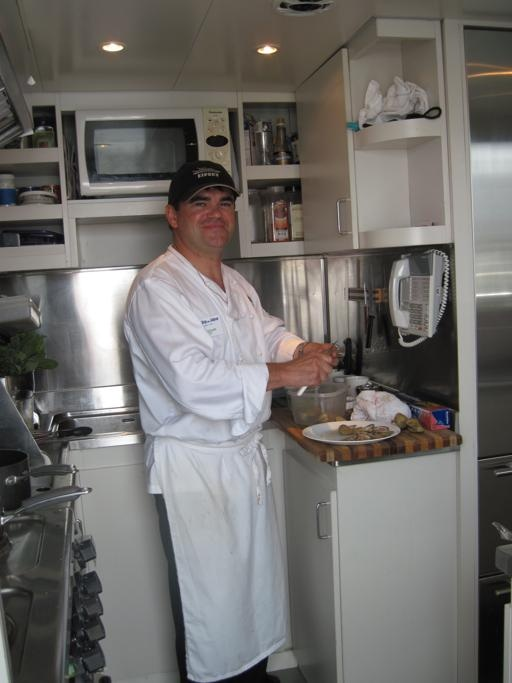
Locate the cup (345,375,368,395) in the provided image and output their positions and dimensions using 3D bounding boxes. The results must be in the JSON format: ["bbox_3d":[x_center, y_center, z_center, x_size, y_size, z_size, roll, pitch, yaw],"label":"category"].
[{"bbox_3d":[0.400,0.168,2.243,0.087,0.070,0.090,0,-2,0],"label":"cup"}]

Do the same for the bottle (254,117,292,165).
[{"bbox_3d":[0.069,-0.829,2.385,0.173,0.226,0.210,0,5,0],"label":"bottle"}]

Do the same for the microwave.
[{"bbox_3d":[-0.426,-0.815,2.289,0.582,0.334,0.321,-9,39,-14],"label":"microwave"}]

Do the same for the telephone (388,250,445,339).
[{"bbox_3d":[0.505,-0.144,1.750,0.089,0.243,0.174,-6,14,-26],"label":"telephone"}]

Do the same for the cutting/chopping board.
[{"bbox_3d":[0.255,0.308,1.753,0.395,0.062,0.630,-7,4,-42],"label":"cutting/chopping board"}]

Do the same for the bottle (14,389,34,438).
[{"bbox_3d":[-0.628,0.194,1.537,0.049,0.157,0.062,-9,5,-26],"label":"bottle"}]

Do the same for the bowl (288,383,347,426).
[{"bbox_3d":[0.213,0.217,1.923,0.177,0.094,0.138,-4,2,-16],"label":"bowl"}]

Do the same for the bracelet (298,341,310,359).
[{"bbox_3d":[0.156,0.027,1.855,0.034,0.044,0.016,14,22,-51],"label":"bracelet"}]
